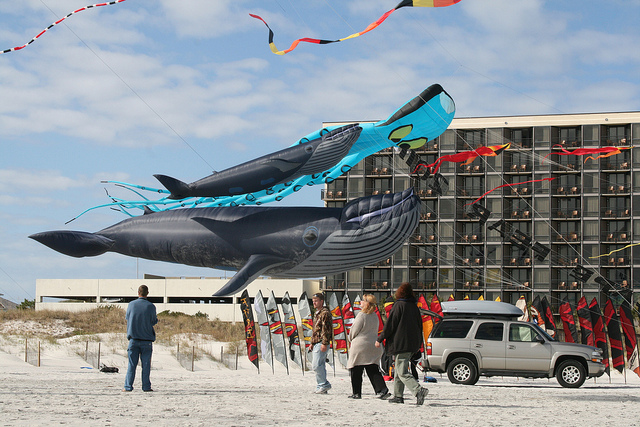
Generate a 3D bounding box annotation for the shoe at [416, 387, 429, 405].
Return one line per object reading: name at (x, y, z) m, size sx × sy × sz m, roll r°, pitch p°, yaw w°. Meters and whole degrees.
shoe at (4.605, 8.154, 55.298) m, size 0.474 × 0.865 × 0.315 m, roll 9°, pitch 25°, yaw 0°

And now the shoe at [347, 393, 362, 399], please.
shoe at (1.601, 8.389, 56.428) m, size 0.642 × 0.182 × 0.228 m, roll 1°, pitch 0°, yaw 4°

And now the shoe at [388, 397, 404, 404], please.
shoe at (3.455, 8.462, 55.731) m, size 0.713 × 0.257 × 0.302 m, roll 1°, pitch 0°, yaw 0°

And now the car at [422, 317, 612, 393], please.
car at (10.140, 7.017, 63.148) m, size 9.551 × 2.964 × 3.713 m, roll 0°, pitch -1°, yaw 18°
